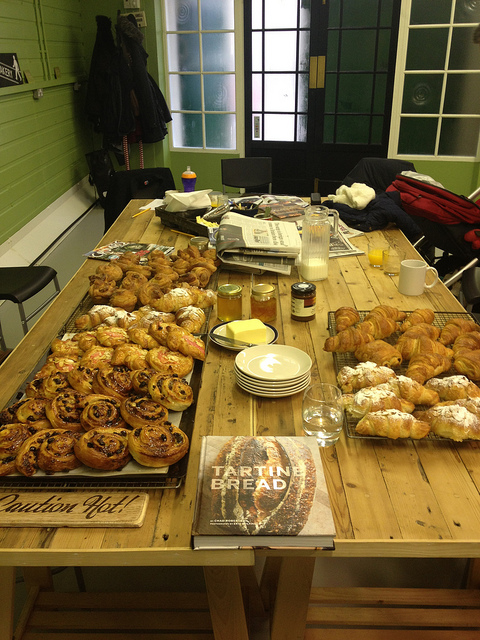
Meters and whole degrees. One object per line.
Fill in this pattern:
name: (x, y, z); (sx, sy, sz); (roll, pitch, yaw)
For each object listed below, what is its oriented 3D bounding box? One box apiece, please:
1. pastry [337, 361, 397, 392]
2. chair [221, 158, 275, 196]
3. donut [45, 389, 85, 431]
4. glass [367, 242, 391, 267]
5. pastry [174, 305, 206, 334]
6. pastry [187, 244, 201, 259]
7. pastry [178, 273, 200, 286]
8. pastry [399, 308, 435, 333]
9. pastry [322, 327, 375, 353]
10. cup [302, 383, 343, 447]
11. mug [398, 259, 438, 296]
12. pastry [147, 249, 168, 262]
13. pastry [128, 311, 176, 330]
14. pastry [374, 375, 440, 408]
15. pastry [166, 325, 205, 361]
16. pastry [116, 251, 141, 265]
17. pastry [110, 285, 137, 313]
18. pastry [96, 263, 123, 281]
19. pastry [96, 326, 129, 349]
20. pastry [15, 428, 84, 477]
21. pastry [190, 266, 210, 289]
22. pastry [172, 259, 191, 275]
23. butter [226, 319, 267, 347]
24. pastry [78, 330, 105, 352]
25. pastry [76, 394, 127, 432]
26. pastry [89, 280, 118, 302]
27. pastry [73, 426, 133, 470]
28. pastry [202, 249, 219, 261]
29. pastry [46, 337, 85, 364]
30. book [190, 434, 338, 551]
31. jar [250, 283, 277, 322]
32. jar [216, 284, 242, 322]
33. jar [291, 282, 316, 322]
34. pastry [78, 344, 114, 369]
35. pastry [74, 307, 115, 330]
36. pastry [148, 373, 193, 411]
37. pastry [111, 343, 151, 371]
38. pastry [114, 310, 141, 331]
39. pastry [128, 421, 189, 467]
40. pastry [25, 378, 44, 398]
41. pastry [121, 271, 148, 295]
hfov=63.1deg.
pastry: (0.289, 0.120, 0.868); (0.090, 0.032, 0.070); (-2, 13, 12)
chair: (0.077, -1.349, 3.696); (0.485, 0.306, 0.251); (-3, 26, -5)
donut: (-0.322, 0.163, 0.727); (0.092, 0.023, 0.083); (26, 39, -48)
glass: (0.630, -0.290, 1.760); (0.127, 0.117, 0.141); (0, 21, 2)
pastry: (-0.142, -0.007, 1.161); (0.068, 0.048, 0.125); (4, 19, -10)
pastry: (-0.196, -0.292, 1.687); (0.055, 0.035, 0.130); (-3, 25, -5)
pastry: (-0.193, -0.152, 1.478); (0.051, 0.029, 0.066); (5, 22, 7)
pastry: (0.513, -0.004, 1.147); (0.131, 0.047, 0.062); (-17, 36, -38)
pastry: (0.285, 0.054, 1.024); (0.120, 0.053, 0.059); (-11, 3, -12)
cup: (0.150, 0.167, 0.728); (0.072, 0.110, 0.117); (-1, 20, 2)
mug: (0.649, -0.164, 1.499); (0.183, 0.137, 0.116); (8, 28, 18)
pastry: (-0.352, -0.272, 1.675); (0.070, 0.034, 0.086); (2, 19, -10)
pastry: (-0.259, -0.003, 1.151); (0.079, 0.025, 0.064); (-19, 6, 1)
pastry: (0.361, 0.150, 0.810); (0.119, 0.048, 0.064); (20, 25, 10)
pastry: (-0.136, 0.050, 1.010); (0.074, 0.039, 0.098); (30, 10, -10)
pastry: (-0.466, -0.261, 1.654); (0.071, 0.028, 0.083); (-1, 23, 0)
pastry: (-0.387, -0.072, 1.315); (0.078, 0.077, 0.080); (4, 14, -7)
pastry: (-0.507, -0.192, 1.536); (0.068, 0.031, 0.089); (-1, 17, -28)
pastry: (-0.332, 0.042, 1.015); (0.065, 0.019, 0.059); (15, 19, -14)
pastry: (-0.310, 0.211, 0.626); (0.066, 0.023, 0.073); (5, 24, 1)
pastry: (-0.140, -0.155, 1.508); (0.067, 0.078, 0.033); (-7, -11, -8)
pastry: (-0.235, -0.213, 1.564); (0.060, 0.019, 0.063); (8, 50, 0)
butter: (0.020, 0.034, 1.085); (0.114, 0.051, 0.073); (-3, 26, -5)
pastry: (-0.399, 0.053, 1.029); (0.052, 0.019, 0.059); (6, 27, -15)
pastry: (-0.252, 0.152, 0.700); (0.058, 0.023, 0.074); (2, 19, -13)
pastry: (-0.486, -0.104, 1.366); (0.077, 0.073, 0.076); (12, 27, 24)
pastry: (-0.217, 0.205, 0.622); (0.077, 0.033, 0.089); (-3, 15, -11)
pastry: (-0.123, -0.276, 1.680); (0.058, 0.031, 0.080); (0, 25, -6)
pastry: (-0.450, 0.077, 1.003); (0.066, 0.023, 0.064); (6, 31, -9)
book: (0.036, 0.235, 0.587); (0.200, 0.054, 0.228); (-1, 25, -1)
jar: (0.076, -0.049, 1.230); (0.075, 0.105, 0.073); (-1, 30, 1)
jar: (-0.019, -0.058, 1.283); (0.105, 0.115, 0.103); (-1, 26, 0)
jar: (0.205, -0.053, 1.241); (0.107, 0.119, 0.110); (-2, 29, 1)
pastry: (-0.337, 0.084, 0.908); (0.058, 0.018, 0.054); (2, 26, -35)
pastry: (-0.435, -0.005, 1.175); (0.116, 0.039, 0.060); (-19, 35, -16)
pastry: (-0.136, 0.142, 0.830); (0.114, 0.064, 0.105); (-5, 22, -17)
pastry: (-0.250, 0.078, 0.902); (0.069, 0.021, 0.063); (33, 27, 28)
pastry: (-0.335, -0.004, 1.173); (0.059, 0.019, 0.060); (28, 25, 14)
pastry: (-0.137, 0.201, 0.648); (0.108, 0.036, 0.084); (5, 19, -47)
pastry: (-0.435, 0.138, 0.829); (0.033, 0.015, 0.041); (1, 24, -1)
pastry: (-0.381, -0.143, 1.421); (0.076, 0.036, 0.100); (8, 26, -18)
